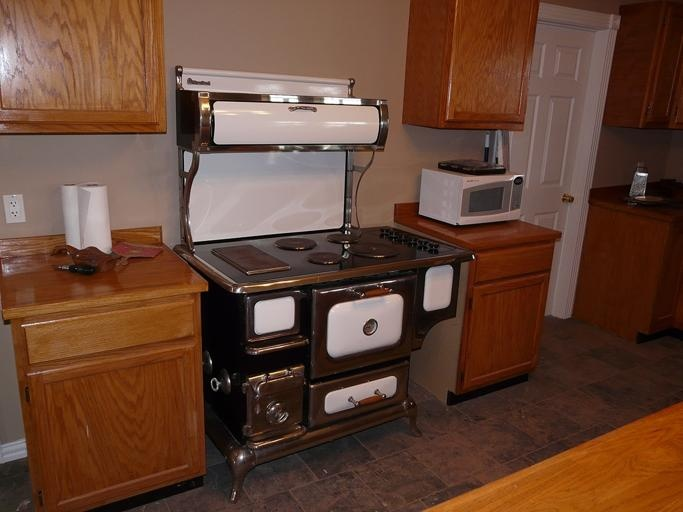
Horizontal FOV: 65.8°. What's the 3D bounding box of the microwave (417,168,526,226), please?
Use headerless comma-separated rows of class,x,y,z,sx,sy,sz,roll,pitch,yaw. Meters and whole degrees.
microwave,0.817,-0.373,3.306,0.529,0.318,0.382,-8,18,-31
